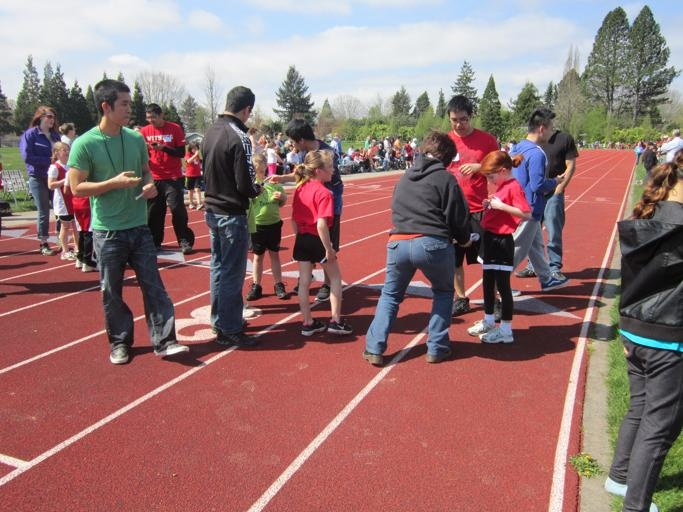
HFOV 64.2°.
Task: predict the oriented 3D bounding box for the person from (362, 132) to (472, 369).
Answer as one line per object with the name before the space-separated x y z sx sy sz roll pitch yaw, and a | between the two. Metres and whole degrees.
person | 0.748 0.084 5.381 1.000 2.045 0.435 -3 14 1

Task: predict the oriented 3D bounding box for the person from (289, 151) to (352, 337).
person | -0.260 -0.089 5.948 0.630 2.060 0.507 0 15 13

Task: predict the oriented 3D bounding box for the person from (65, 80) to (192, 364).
person | -2.219 -0.328 5.493 0.851 2.810 0.866 -10 16 -25

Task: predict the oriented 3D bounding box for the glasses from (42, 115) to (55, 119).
glasses | -5.173 -2.436 9.590 0.061 0.069 0.214 0 14 11

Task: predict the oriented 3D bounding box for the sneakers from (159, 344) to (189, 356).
sneakers | -1.727 0.958 5.541 0.320 0.127 0.140 -9 -7 31

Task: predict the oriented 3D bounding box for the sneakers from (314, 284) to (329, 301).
sneakers | -0.258 0.506 7.224 0.101 0.108 0.277 1 1 15

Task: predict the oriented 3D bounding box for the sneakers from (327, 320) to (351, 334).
sneakers | -0.044 0.806 6.139 0.303 0.151 0.123 2 3 -30

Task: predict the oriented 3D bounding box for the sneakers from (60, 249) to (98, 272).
sneakers | -4.146 0.090 8.562 0.661 0.279 0.246 7 14 26

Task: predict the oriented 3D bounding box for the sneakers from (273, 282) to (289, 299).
sneakers | -0.820 0.469 7.308 0.116 0.137 0.307 -1 5 -20

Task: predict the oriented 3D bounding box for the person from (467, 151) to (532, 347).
person | 1.724 -0.093 5.934 0.613 2.062 0.716 1 15 16

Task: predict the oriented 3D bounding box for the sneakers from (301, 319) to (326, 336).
sneakers | -0.323 0.812 6.222 0.125 0.133 0.319 8 13 39

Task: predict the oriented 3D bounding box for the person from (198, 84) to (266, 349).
person | -1.154 -0.375 5.749 0.699 2.699 0.465 -7 15 -14

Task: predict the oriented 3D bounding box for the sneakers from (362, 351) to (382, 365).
sneakers | 0.313 1.036 5.513 0.105 0.099 0.207 -2 14 -27
